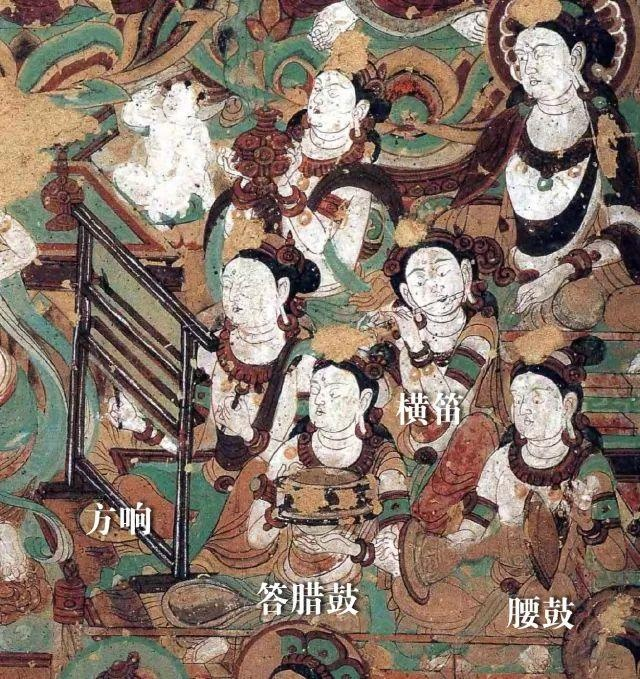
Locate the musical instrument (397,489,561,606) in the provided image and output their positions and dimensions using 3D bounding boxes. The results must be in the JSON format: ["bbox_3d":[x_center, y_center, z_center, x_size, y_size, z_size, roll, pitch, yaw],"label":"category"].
[{"bbox_3d":[0.932,1.588,16.803,0.880,0.520,0.467,-33,52,-24],"label":"musical instrument"}]

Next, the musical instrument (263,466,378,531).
[{"bbox_3d":[0.024,1.244,16.724,0.602,0.584,0.202,1,84,-16],"label":"musical instrument"}]
